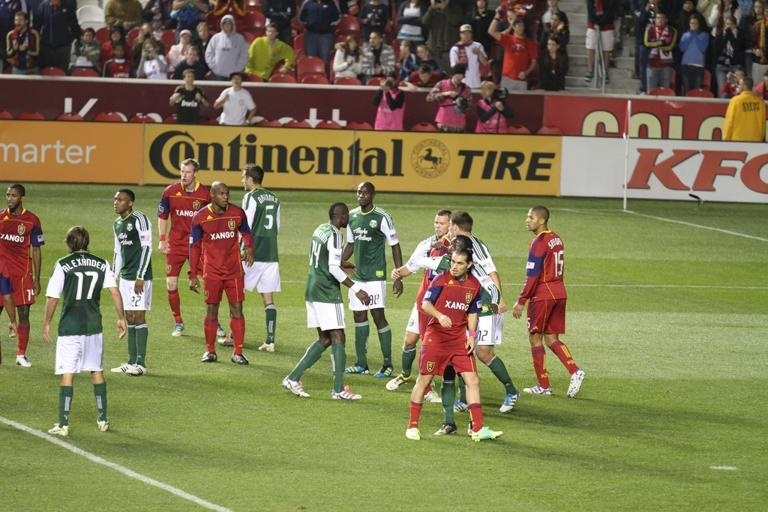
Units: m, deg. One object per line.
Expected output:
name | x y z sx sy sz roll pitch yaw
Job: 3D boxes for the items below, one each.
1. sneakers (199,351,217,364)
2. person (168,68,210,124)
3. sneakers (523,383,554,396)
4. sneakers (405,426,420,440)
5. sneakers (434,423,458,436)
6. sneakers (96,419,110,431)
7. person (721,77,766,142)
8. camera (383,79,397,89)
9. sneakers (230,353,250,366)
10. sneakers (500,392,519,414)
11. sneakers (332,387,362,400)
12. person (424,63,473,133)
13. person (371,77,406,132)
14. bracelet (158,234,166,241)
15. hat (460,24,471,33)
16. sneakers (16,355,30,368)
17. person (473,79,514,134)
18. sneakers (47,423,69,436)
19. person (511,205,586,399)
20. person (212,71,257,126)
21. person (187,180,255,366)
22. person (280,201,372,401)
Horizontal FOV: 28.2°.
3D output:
sneakers | -3.509 2.037 30.735 0.291 0.181 0.172 5 1 -3
person | -5.589 -4.535 44.089 1.049 1.554 1.802 1 2 -8
sneakers | 2.987 2.589 29.775 0.600 0.246 0.207 4 2 8
sneakers | 0.534 3.247 28.118 0.294 0.246 0.236 2 2 2
sneakers | 1.161 3.208 28.301 0.472 0.190 0.167 -4 3 -17
sneakers | -5.112 3.099 27.990 0.175 0.103 0.271 2 12 -9
person | 10.249 -4.084 43.547 1.090 1.626 0.704 2 2 8
camera | 0.195 -4.875 43.466 0.368 0.302 0.224 1 3 -20
sneakers | -2.862 2.082 30.688 0.280 0.135 0.209 11 -2 6
sneakers | 2.388 2.808 29.136 0.133 0.365 0.190 30 -8 47
sneakers | -0.707 2.653 29.391 0.624 0.267 0.220 1 0 -8
person | 1.895 -4.473 43.897 1.118 1.917 0.940 2 2 2
person | 0.139 -4.328 43.754 0.820 1.482 0.754 1 2 -3
bracelet | -4.705 -0.386 32.697 0.216 0.159 0.211 0 5 -6
hat | 2.406 -6.665 45.051 0.395 0.189 0.580 0 9 3
sneakers | -7.041 2.082 30.161 0.320 0.191 0.165 2 7 4
person | 3.140 -4.245 44.119 0.979 1.447 0.914 2 2 3
sneakers | -5.888 3.153 27.830 0.346 0.155 0.175 6 3 24
person | 3.175 0.893 29.676 1.286 3.676 0.644 2 3 4
person | -4.274 -4.513 44.221 1.120 1.497 1.021 1 2 -6
person | -3.261 0.355 30.764 1.239 3.603 0.918 1 3 -8
person | -1.079 0.867 29.401 1.399 3.765 0.770 1 3 -4
